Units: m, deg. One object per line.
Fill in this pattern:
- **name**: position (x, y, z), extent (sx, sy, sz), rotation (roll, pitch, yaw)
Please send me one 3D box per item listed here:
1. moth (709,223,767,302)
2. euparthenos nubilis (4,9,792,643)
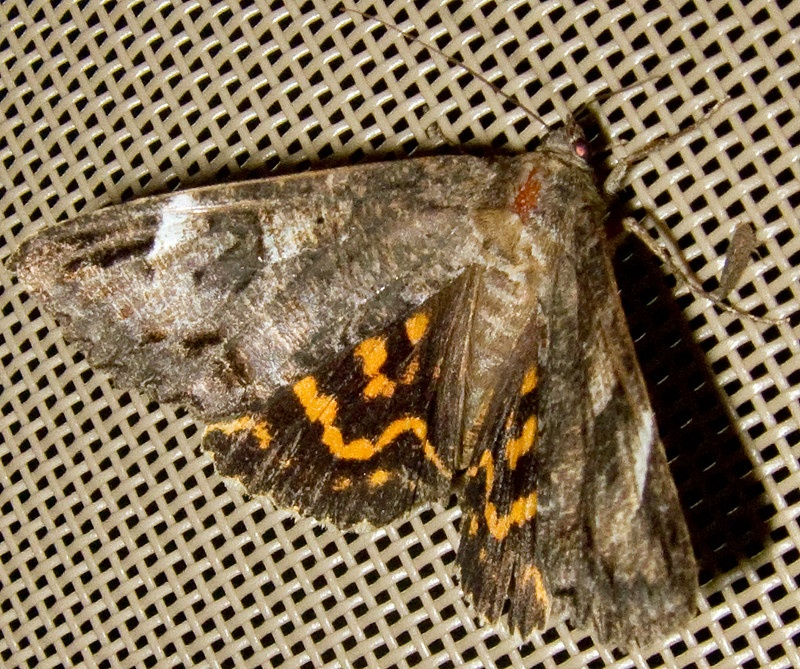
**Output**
- **moth**: position (0.997, -0.212, 3.326), extent (0.088, 0.066, 0.212), rotation (18, 92, 12)
- **euparthenos nubilis**: position (-0.004, 0.013, 3.260), extent (2.192, 0.684, 1.778), rotation (26, 107, 11)
